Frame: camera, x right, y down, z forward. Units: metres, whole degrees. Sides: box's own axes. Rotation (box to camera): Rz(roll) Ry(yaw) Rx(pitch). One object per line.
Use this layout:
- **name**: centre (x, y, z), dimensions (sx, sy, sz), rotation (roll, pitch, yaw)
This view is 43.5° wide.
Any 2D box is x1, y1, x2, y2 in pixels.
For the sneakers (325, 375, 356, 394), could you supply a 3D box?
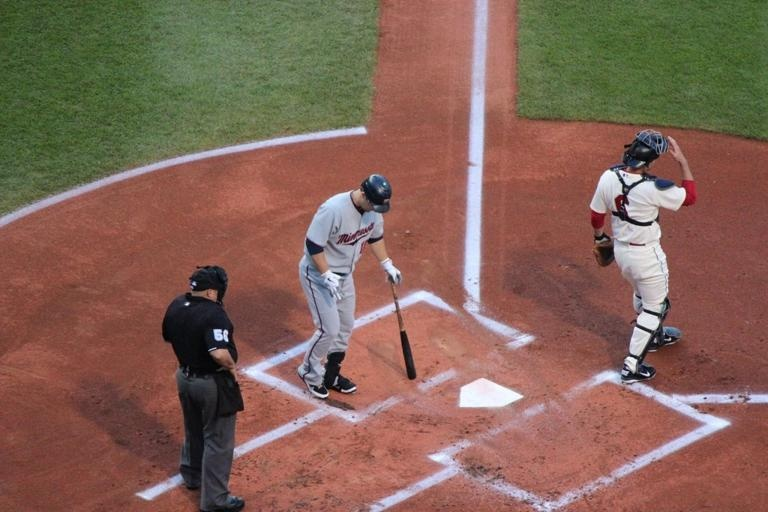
- **sneakers**: centre (-0.603, 1.853, 13.744), dimensions (0.521, 0.194, 0.192), rotation (4, 27, 11)

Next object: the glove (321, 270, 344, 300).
- **glove**: centre (-0.689, 0.392, 13.170), dimensions (0.343, 0.371, 0.120), rotation (-19, 14, 45)

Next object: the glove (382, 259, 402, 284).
- **glove**: centre (0.144, 0.191, 13.758), dimensions (0.185, 0.253, 0.367), rotation (-13, 45, -32)

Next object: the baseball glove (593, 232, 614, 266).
- **baseball glove**: centre (3.096, -0.099, 14.188), dimensions (0.299, 0.460, 0.337), rotation (-5, -6, -4)

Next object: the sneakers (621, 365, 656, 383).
- **sneakers**: centre (3.506, 1.690, 13.786), dimensions (0.455, 0.185, 0.216), rotation (-8, 47, -3)

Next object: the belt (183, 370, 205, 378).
- **belt**: centre (-2.402, 1.515, 12.289), dimensions (0.125, 0.031, 0.121), rotation (14, 5, 0)
